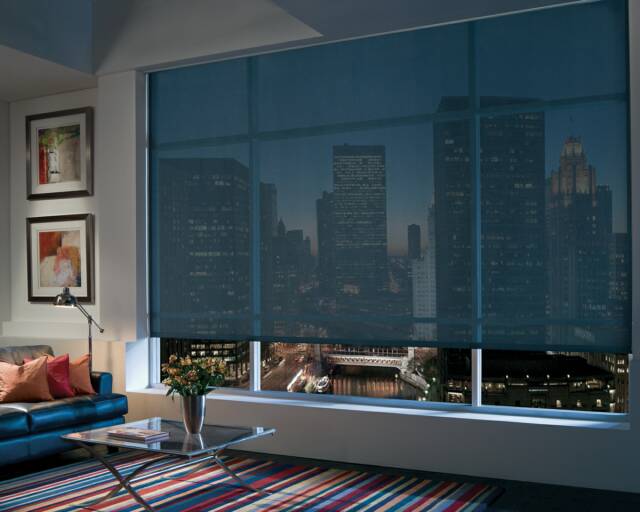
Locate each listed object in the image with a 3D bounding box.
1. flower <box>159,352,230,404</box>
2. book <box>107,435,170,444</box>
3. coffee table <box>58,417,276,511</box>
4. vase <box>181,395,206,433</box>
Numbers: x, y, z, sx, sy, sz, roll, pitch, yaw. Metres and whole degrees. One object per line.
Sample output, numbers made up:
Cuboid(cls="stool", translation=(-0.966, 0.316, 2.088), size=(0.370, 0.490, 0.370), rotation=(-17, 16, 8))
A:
Cuboid(cls="flower", translation=(-1.050, 1.007, 5.357), size=(0.511, 0.346, 0.250), rotation=(-2, 5, -11))
Cuboid(cls="book", translation=(-1.431, 1.463, 5.038), size=(0.210, 0.022, 0.157), rotation=(-2, -5, 29))
Cuboid(cls="coffee table", translation=(-1.314, 1.501, 5.136), size=(0.975, 0.418, 0.993), rotation=(-3, -4, 28))
Cuboid(cls="vase", translation=(-1.040, 1.322, 5.311), size=(0.255, 0.299, 0.272), rotation=(-3, -7, 20))
